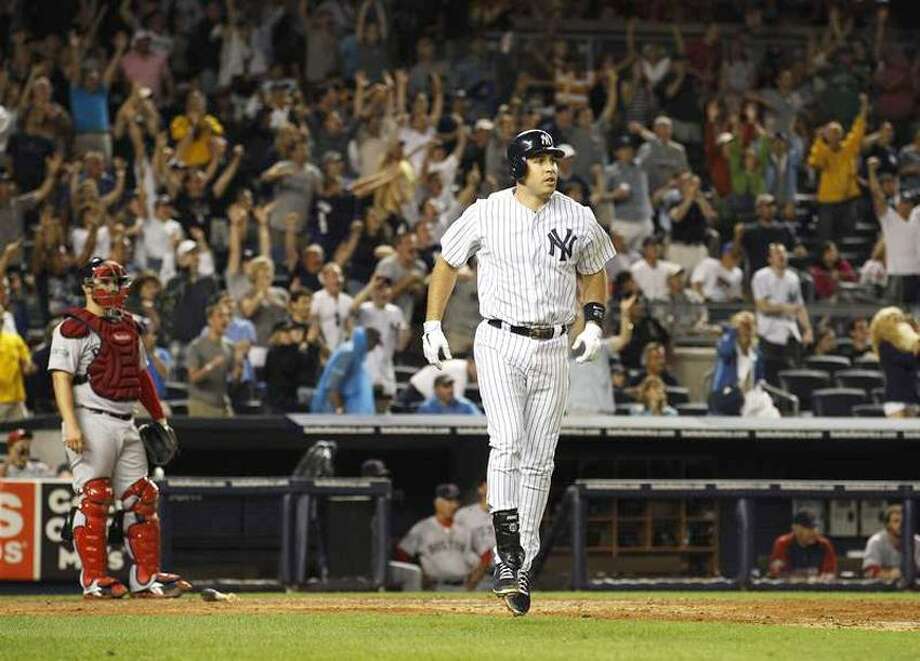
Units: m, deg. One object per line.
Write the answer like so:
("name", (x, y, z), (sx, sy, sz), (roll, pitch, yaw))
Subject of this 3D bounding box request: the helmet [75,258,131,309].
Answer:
("helmet", (-2.664, -0.349, 20.889), (0.322, 0.355, 0.381), (-3, 0, -38))

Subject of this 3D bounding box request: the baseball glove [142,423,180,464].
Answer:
("baseball glove", (-2.313, 0.879, 21.215), (0.245, 0.326, 0.117), (-9, -6, -10))

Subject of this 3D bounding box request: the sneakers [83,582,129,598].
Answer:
("sneakers", (-2.661, 1.960, 20.784), (0.304, 0.109, 0.120), (-2, -3, 14))

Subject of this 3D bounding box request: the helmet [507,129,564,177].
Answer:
("helmet", (0.516, -1.307, 20.334), (0.394, 0.321, 0.307), (-7, -4, 33))

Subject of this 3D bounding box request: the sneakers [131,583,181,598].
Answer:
("sneakers", (-2.281, 1.979, 20.900), (0.387, 0.152, 0.138), (-5, -4, 2))

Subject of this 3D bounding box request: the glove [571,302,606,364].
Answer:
("glove", (0.979, 0.043, 20.531), (0.229, 0.470, 0.623), (-1, -9, 4))

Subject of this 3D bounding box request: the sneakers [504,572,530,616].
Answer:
("sneakers", (0.429, 1.918, 19.994), (0.183, 0.323, 0.270), (0, -9, -2))

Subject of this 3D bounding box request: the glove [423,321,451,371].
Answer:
("glove", (-0.174, 0.105, 20.326), (0.223, 0.366, 0.154), (-6, -43, 15))
